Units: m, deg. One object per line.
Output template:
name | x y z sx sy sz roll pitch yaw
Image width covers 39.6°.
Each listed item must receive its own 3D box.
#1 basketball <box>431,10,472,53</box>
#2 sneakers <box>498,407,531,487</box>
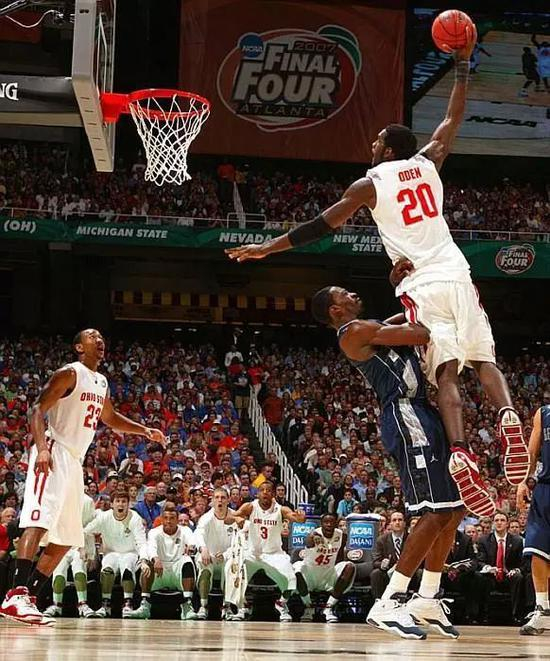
basketball | 0.934 -1.586 3.991 0.210 0.265 0.217 0 2 12
sneakers | 0.995 0.483 3.279 0.115 0.336 0.136 -10 0 2
